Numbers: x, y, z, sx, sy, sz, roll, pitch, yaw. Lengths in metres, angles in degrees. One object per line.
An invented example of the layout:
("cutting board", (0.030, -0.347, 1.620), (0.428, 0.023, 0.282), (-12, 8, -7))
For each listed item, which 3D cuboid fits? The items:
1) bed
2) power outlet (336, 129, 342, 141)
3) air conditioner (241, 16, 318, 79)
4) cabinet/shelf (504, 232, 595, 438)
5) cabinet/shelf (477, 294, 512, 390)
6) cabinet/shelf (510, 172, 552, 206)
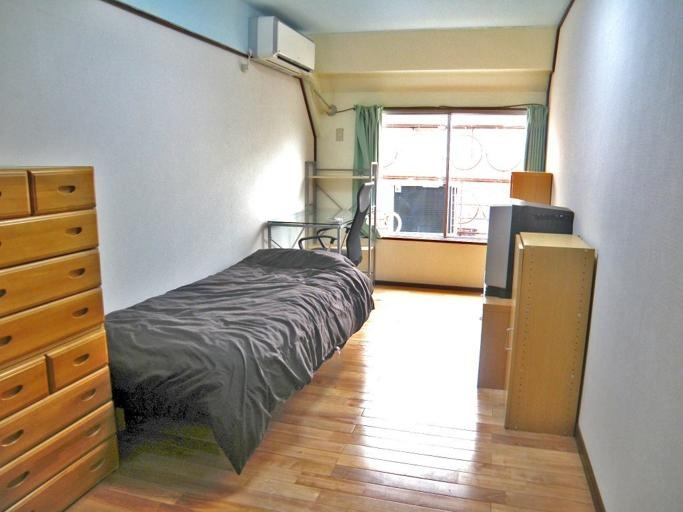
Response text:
("bed", (-0.534, 0.450, 3.079), (0.879, 0.454, 1.466), (5, 19, 25))
("power outlet", (-0.019, -1.508, 6.115), (0.103, 0.162, 0.021), (7, 15, 23))
("air conditioner", (-0.537, -2.038, 4.866), (0.244, 0.375, 0.996), (6, 12, 17))
("cabinet/shelf", (1.247, 0.494, 2.890), (0.404, 1.182, 1.060), (6, 8, 17))
("cabinet/shelf", (1.267, 0.714, 3.715), (0.200, 0.580, 0.606), (1, -13, 39))
("cabinet/shelf", (1.927, -0.668, 4.903), (0.417, 0.323, 0.399), (-4, 5, -38))
